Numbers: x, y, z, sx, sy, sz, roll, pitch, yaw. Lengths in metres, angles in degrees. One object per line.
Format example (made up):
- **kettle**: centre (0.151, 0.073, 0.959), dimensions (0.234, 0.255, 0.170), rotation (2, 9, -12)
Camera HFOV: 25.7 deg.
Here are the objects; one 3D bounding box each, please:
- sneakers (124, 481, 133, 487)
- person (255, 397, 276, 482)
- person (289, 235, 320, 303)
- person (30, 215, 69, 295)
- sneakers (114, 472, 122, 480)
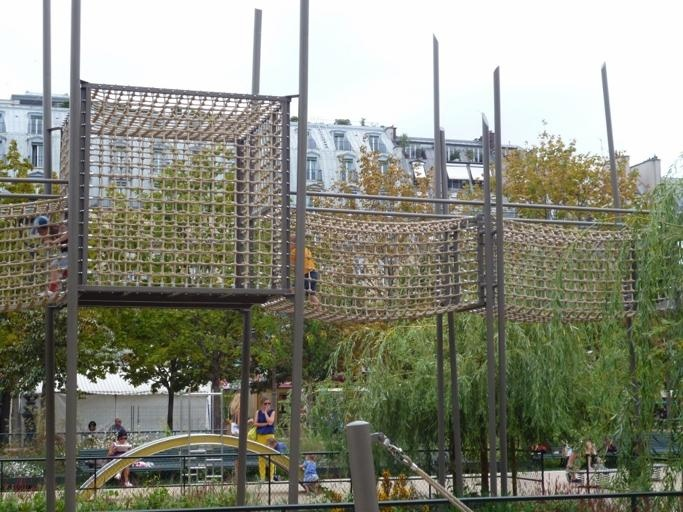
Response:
- **sneakers**: centre (-4.604, 4.955, 32.352), dimensions (0.133, 0.194, 0.430), rotation (3, -14, -21)
- **person**: centre (-1.671, 4.058, 33.344), dimensions (0.399, 1.733, 0.395), rotation (-4, -3, 33)
- **person**: centre (-0.678, 0.246, 27.193), dimensions (0.493, 1.237, 1.394), rotation (-1, -5, -2)
- **person**: centre (-5.108, 0.043, 26.217), dimensions (0.783, 1.570, 0.662), rotation (9, -23, -29)
- **sneakers**: centre (-4.907, 4.859, 32.961), dimensions (0.126, 0.222, 0.071), rotation (5, 1, 25)
